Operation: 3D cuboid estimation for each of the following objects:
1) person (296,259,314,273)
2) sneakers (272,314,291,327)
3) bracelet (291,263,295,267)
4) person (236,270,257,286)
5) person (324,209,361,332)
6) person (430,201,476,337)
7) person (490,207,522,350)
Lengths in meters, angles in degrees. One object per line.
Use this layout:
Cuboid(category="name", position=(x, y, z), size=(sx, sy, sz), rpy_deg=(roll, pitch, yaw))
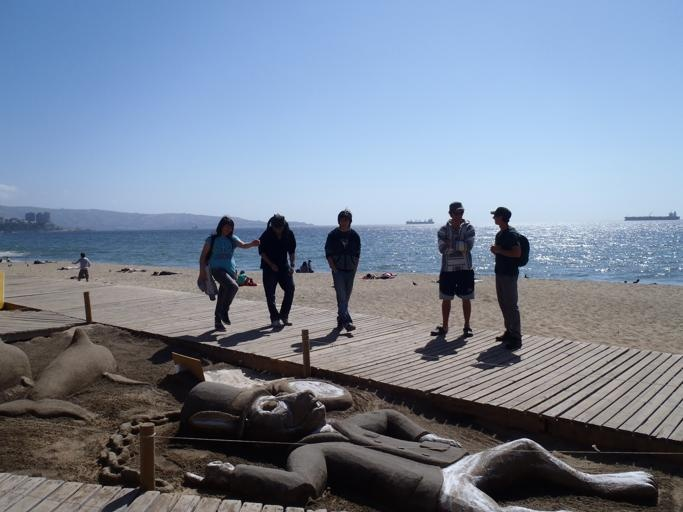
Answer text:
Cuboid(category="person", position=(-2.201, 0.802, 31.135), size=(0.867, 0.995, 0.395), rpy_deg=(11, 11, -13))
Cuboid(category="sneakers", position=(-1.044, 1.127, 8.835), size=(0.308, 0.131, 0.178), rpy_deg=(-10, -6, 44))
Cuboid(category="bracelet", position=(-0.842, 0.164, 8.887), size=(0.053, 0.089, 0.071), rpy_deg=(2, 4, 10))
Cuboid(category="person", position=(-4.043, 0.951, 21.942), size=(0.774, 0.347, 1.047), rpy_deg=(-3, 6, -21))
Cuboid(category="person", position=(0.005, 0.241, 8.836), size=(0.581, 2.040, 0.703), rpy_deg=(1, 4, 0))
Cuboid(category="person", position=(1.804, 0.238, 8.287), size=(0.655, 2.142, 1.218), rpy_deg=(2, 4, 14))
Cuboid(category="person", position=(2.484, 0.331, 7.757), size=(0.494, 2.093, 0.763), rpy_deg=(2, 4, 19))
